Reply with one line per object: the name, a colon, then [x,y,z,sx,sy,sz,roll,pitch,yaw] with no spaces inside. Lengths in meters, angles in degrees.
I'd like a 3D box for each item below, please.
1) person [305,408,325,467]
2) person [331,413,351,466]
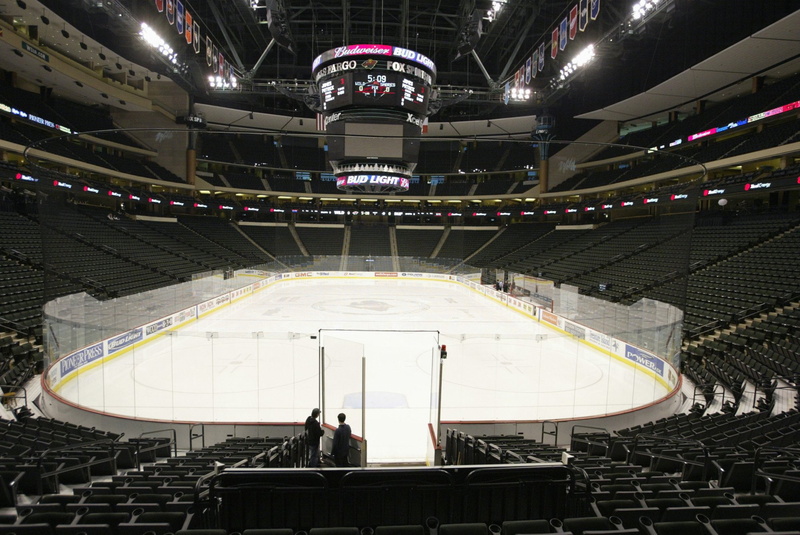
person: [-2.598,5.118,17.910,0.487,1.652,0.585,-1,-20,7]
person: [-1.751,5.173,17.840,0.483,1.506,0.694,4,-20,-7]
